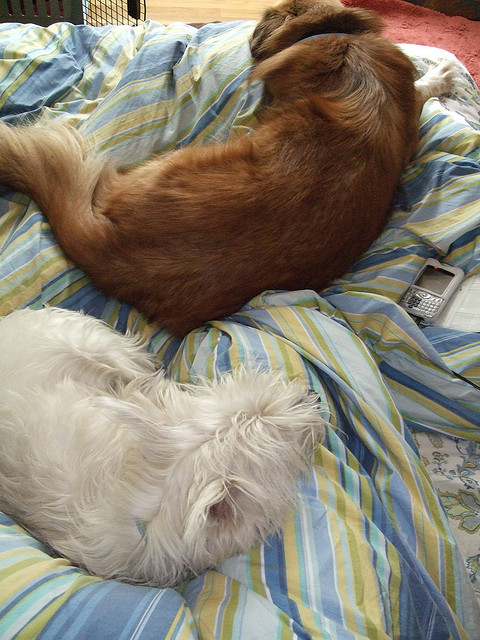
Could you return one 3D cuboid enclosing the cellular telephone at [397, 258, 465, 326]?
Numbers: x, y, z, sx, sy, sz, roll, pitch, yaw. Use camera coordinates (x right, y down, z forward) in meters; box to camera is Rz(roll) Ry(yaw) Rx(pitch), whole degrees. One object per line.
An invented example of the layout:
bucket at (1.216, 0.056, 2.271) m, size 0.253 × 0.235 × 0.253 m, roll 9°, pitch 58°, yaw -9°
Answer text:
cellular telephone at (0.465, -0.074, 1.392) m, size 0.100 × 0.040 × 0.165 m, roll 30°, pitch 74°, yaw 19°
